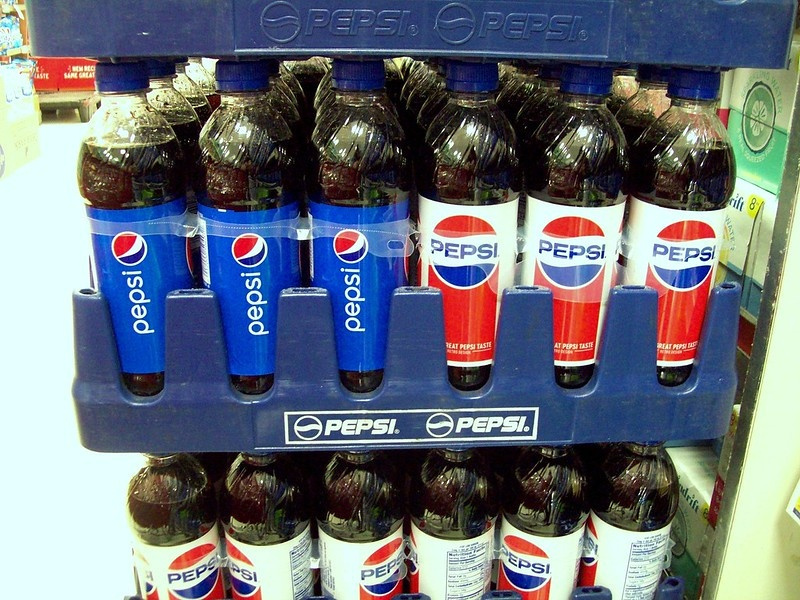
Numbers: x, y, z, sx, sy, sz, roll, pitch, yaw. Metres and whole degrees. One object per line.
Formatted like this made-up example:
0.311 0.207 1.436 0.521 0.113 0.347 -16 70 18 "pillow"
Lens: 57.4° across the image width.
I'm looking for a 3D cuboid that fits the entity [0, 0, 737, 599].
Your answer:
-0.027 0.029 1.209 1.078 0.737 0.610 -1 26 -1 "entity"
